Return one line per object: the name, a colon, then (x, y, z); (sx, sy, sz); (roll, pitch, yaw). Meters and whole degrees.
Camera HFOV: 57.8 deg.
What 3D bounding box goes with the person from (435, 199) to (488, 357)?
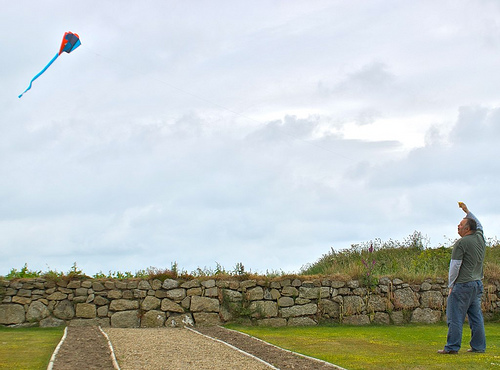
person: (3.859, 1.608, 8.271); (1.034, 2.703, 0.496); (-3, -12, -2)
